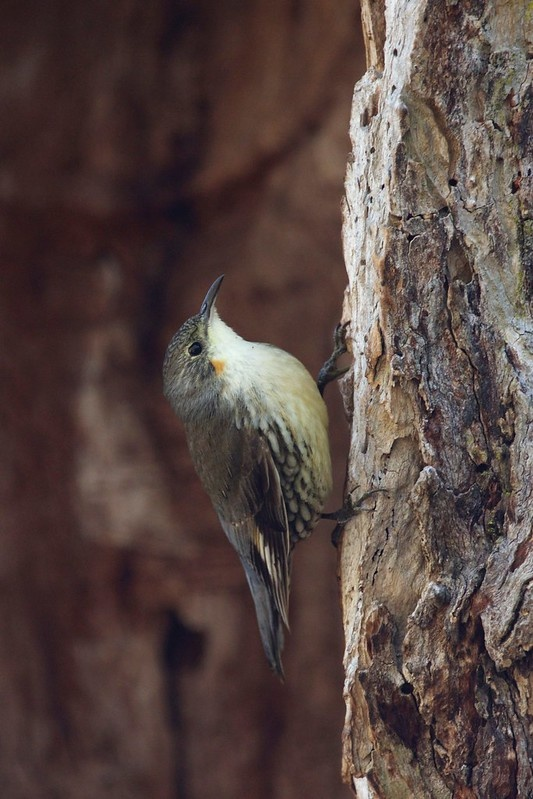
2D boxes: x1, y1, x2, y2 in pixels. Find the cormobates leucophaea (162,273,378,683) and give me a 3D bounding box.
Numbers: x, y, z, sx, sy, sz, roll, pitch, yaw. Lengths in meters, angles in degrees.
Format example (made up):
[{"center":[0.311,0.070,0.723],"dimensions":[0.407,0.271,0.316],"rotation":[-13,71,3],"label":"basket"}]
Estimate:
[{"center":[-0.029,0.180,2.799],"dimensions":[0.373,0.951,0.263],"rotation":[-9,-18,-6],"label":"cormobates leucophaea"}]
